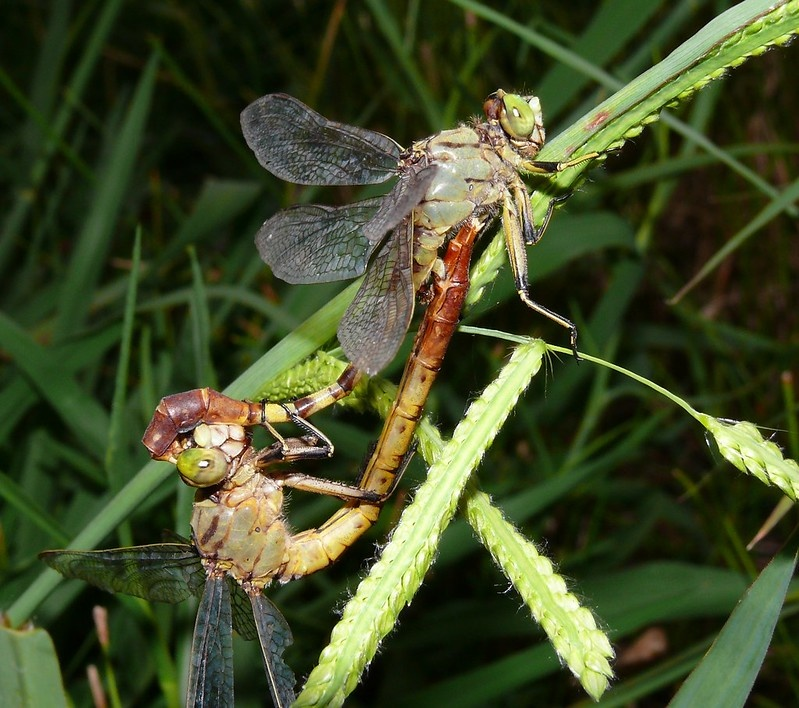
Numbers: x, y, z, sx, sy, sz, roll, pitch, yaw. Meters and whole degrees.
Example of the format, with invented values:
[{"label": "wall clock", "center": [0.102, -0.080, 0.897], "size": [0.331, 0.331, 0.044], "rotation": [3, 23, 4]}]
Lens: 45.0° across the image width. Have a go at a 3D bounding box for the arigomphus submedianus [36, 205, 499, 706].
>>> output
[{"label": "arigomphus submedianus", "center": [-0.242, 0.299, 2.253], "size": [0.609, 1.355, 1.354], "rotation": [7, -66, 14]}]
